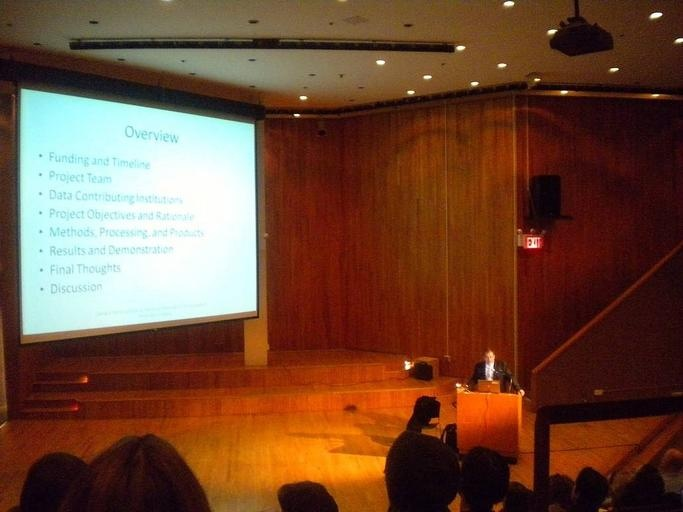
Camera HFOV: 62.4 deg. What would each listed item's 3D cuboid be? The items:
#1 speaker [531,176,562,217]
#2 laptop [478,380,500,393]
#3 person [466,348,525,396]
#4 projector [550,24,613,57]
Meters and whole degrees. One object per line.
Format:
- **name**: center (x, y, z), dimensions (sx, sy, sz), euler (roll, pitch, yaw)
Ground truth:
- **speaker**: center (2.804, -0.811, 7.775), dimensions (0.347, 0.589, 0.238), euler (0, 1, 1)
- **laptop**: center (1.541, 1.373, 5.897), dimensions (0.188, 0.121, 0.133), euler (0, 17, 7)
- **person**: center (1.845, 1.404, 6.749), dimensions (0.512, 0.909, 0.504), euler (-1, -1, 20)
- **projector**: center (2.321, -2.111, 5.464), dimensions (0.441, 0.162, 0.444), euler (0, -5, 15)
